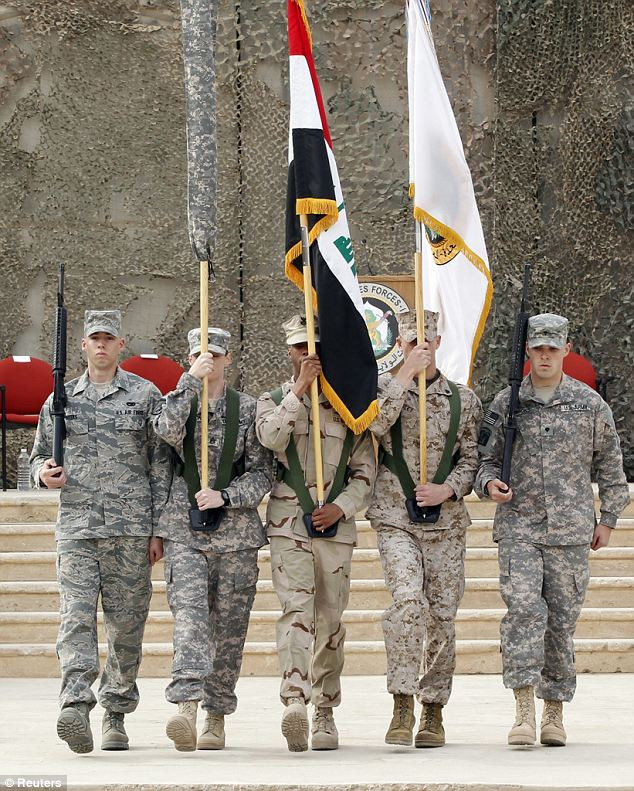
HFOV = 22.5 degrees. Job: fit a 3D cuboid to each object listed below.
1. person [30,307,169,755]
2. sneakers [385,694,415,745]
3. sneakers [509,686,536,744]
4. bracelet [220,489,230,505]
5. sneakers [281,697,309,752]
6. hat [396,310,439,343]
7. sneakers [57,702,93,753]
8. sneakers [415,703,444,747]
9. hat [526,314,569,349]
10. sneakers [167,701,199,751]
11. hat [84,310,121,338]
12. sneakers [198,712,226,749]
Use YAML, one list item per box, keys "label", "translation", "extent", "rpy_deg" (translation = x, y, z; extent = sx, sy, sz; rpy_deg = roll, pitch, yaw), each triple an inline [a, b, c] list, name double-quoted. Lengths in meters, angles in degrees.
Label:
- label: "person"
  translation: [-0.976, 0.619, 7.576]
  extent: [0.558, 1.927, 1.103]
  rpy_deg: [-2, 20, -5]
- label: "sneakers"
  translation: [0.389, 1.516, 7.574]
  extent: [0.129, 0.281, 0.199]
  rpy_deg: [4, 20, 10]
- label: "sneakers"
  translation: [0.959, 1.487, 7.427]
  extent: [0.114, 0.224, 0.216]
  rpy_deg: [3, 19, 10]
- label: "bracelet"
  translation: [-0.446, 0.484, 7.558]
  extent: [0.040, 0.064, 0.076]
  rpy_deg: [-3, 19, -9]
- label: "sneakers"
  translation: [-0.101, 1.454, 7.105]
  extent: [0.108, 0.235, 0.120]
  rpy_deg: [-1, 10, 2]
- label: "hat"
  translation: [0.504, -0.347, 7.962]
  extent: [0.169, 0.108, 0.187]
  rpy_deg: [0, -12, 1]
- label: "sneakers"
  translation: [-1.069, 1.493, 7.149]
  extent: [0.116, 0.266, 0.131]
  rpy_deg: [-1, 37, 16]
- label: "sneakers"
  translation: [0.538, 1.599, 7.621]
  extent: [0.145, 0.223, 0.290]
  rpy_deg: [2, 18, 5]
- label: "hat"
  translation: [1.142, -0.311, 7.809]
  extent: [0.224, 0.172, 0.205]
  rpy_deg: [-4, 19, -11]
- label: "sneakers"
  translation: [-0.611, 1.507, 7.140]
  extent: [0.122, 0.298, 0.271]
  rpy_deg: [-1, 19, -3]
- label: "hat"
  translation: [-1.040, -0.348, 7.693]
  extent: [0.142, 0.066, 0.178]
  rpy_deg: [0, 7, -3]
- label: "sneakers"
  translation: [-0.512, 1.605, 7.537]
  extent: [0.131, 0.167, 0.213]
  rpy_deg: [-1, 18, -3]
